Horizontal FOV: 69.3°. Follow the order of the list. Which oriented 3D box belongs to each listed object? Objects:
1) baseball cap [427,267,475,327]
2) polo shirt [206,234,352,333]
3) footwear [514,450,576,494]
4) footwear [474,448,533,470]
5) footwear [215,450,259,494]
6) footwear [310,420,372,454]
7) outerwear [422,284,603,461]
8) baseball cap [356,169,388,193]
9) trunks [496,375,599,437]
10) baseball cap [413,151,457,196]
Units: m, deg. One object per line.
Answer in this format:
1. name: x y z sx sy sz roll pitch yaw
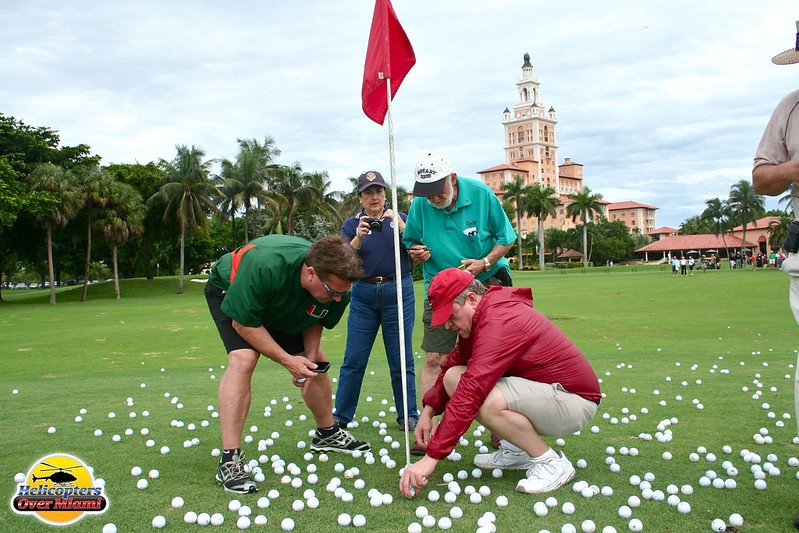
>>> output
1. baseball cap: 0.452 0.267 5.295 0.501 0.404 0.201 -6 2 -28
2. polo shirt: -1.299 0.129 6.214 1.301 0.927 1.677 7 1 -33
3. footwear: 1.385 1.904 5.307 0.692 0.308 0.252 -18 -7 -36
4. footwear: 1.043 1.927 5.805 0.580 0.257 0.199 3 -5 6
5. footwear: -1.553 1.897 5.401 0.363 0.396 0.329 -6 2 -18
6. footwear: -0.585 1.873 6.351 0.755 0.323 0.265 2 -4 0
7. outerwear: 1.015 0.994 5.678 1.961 1.454 1.479 -5 -4 2
8. baseball cap: -0.375 -0.991 6.725 0.344 0.211 0.420 -5 1 12
9. trunks: 1.390 1.286 5.326 0.700 0.334 0.623 -19 -33 11
10. baseball cap: 0.361 -1.003 6.323 0.443 0.364 0.335 -5 2 1
